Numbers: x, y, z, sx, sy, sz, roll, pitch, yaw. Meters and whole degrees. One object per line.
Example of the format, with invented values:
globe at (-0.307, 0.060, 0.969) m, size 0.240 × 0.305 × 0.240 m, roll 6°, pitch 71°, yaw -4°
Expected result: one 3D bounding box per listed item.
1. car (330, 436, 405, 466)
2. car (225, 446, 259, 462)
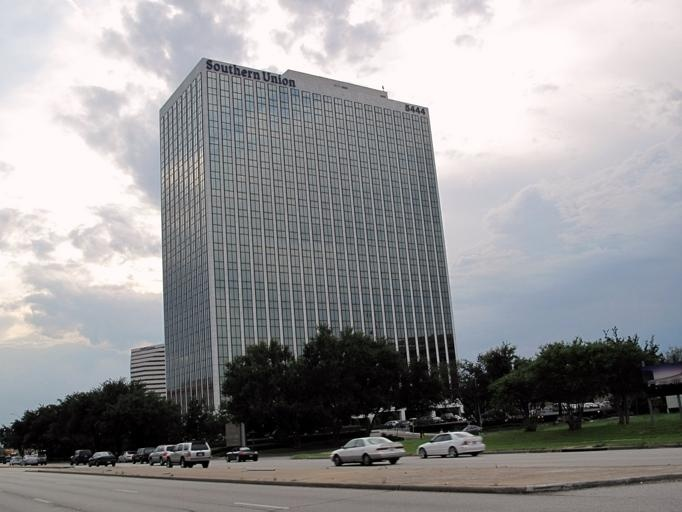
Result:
car at (1.690, 12.444, 43.914) m, size 4.277 × 1.687 × 1.341 m, roll -17°, pitch -22°, yaw 31°
car at (-9.229, 18.521, 64.258) m, size 2.204 × 1.456 × 4.041 m, roll 3°, pitch -20°, yaw -22°
